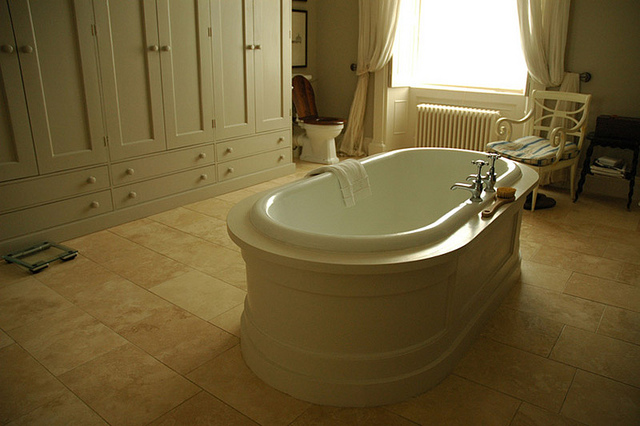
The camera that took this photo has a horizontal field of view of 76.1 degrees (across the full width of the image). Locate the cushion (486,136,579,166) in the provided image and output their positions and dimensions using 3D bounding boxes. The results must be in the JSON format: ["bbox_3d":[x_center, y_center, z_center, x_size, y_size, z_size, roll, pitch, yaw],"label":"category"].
[{"bbox_3d":[2.231,-0.671,4.313,0.779,0.173,0.867,-3,23,4],"label":"cushion"}]

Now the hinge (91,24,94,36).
[{"bbox_3d":[-1.872,-1.496,3.340,0.016,0.084,0.008,-17,28,-31],"label":"hinge"}]

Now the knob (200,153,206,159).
[{"bbox_3d":[-1.213,-0.589,4.195,0.036,0.033,0.038,8,23,9],"label":"knob"}]

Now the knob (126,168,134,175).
[{"bbox_3d":[-1.736,-0.376,3.719,0.037,0.071,0.073,19,31,39],"label":"knob"}]

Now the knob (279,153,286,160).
[{"bbox_3d":[-0.460,-0.687,4.969,0.063,0.027,0.063,16,42,14],"label":"knob"}]

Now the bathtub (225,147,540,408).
[{"bbox_3d":[0.464,0.223,2.597,1.235,0.981,1.964,17,30,35],"label":"bathtub"}]

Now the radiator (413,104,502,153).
[{"bbox_3d":[1.787,-1.079,5.140,0.821,0.685,0.142,11,18,32],"label":"radiator"}]

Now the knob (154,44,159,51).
[{"bbox_3d":[-1.490,-1.494,3.696,0.028,0.048,0.057,-3,24,-4],"label":"knob"}]

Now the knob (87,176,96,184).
[{"bbox_3d":[-1.971,-0.284,3.491,0.025,0.049,0.047,17,-3,31],"label":"knob"}]

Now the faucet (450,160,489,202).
[{"bbox_3d":[0.953,-0.207,2.602,0.233,0.264,0.107,8,13,40],"label":"faucet"}]

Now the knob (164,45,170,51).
[{"bbox_3d":[-1.419,-1.522,3.766,0.037,0.048,0.045,0,24,4],"label":"knob"}]

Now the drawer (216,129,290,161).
[{"bbox_3d":[-0.834,-0.881,5.496,0.894,0.413,1.775,0,8,-6],"label":"drawer"}]

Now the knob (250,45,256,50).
[{"bbox_3d":[-0.736,-1.785,4.397,0.052,0.045,0.021,-10,25,-18],"label":"knob"}]

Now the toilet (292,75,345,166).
[{"bbox_3d":[-0.036,-1.219,5.396,0.476,1.104,0.738,-21,30,-37],"label":"toilet"}]

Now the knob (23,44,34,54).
[{"bbox_3d":[-2.198,-1.230,3.066,0.037,0.065,0.075,13,28,30],"label":"knob"}]

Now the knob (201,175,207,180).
[{"bbox_3d":[-1.218,-0.374,4.258,0.038,0.028,0.039,13,29,25],"label":"knob"}]

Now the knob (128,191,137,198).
[{"bbox_3d":[-1.737,-0.170,3.762,0.046,0.052,0.051,0,-14,44],"label":"knob"}]

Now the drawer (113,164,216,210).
[{"bbox_3d":[-1.545,-0.266,3.979,0.416,0.166,0.710,12,24,43],"label":"drawer"}]

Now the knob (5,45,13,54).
[{"bbox_3d":[-2.279,-1.193,2.971,0.043,0.035,0.048,8,30,7],"label":"knob"}]

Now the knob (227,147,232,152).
[{"bbox_3d":[-0.982,-0.690,4.413,0.038,0.029,0.039,13,27,28],"label":"knob"}]
